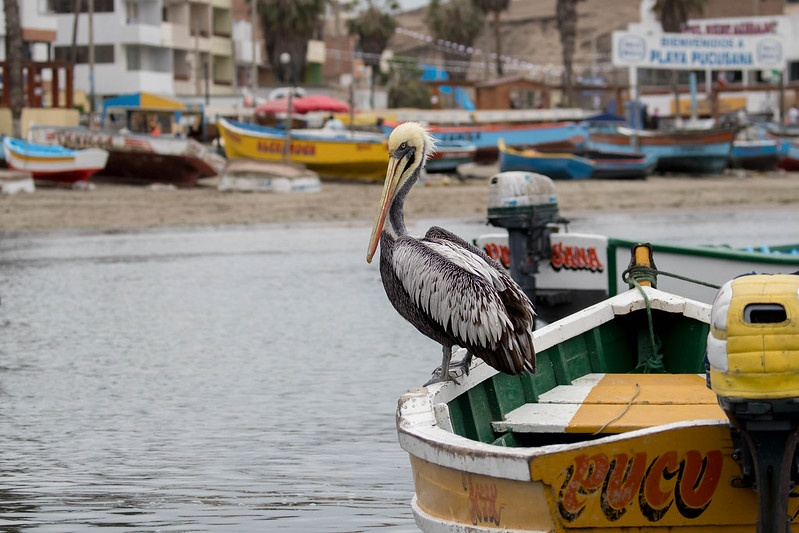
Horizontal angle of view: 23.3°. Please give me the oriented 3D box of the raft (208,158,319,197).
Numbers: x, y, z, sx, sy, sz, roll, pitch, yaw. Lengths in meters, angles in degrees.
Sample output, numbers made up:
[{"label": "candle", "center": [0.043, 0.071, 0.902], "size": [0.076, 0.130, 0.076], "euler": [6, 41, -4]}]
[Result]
[{"label": "raft", "center": [-2.941, -2.178, 48.380], "size": [2.741, 0.692, 2.163], "euler": [1, 4, 9]}]

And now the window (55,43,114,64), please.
[{"label": "window", "center": [-8.984, -5.985, 54.845], "size": [0.811, 0.668, 2.901], "euler": [1, 10, 13]}]

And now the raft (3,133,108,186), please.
[{"label": "raft", "center": [-8.360, -2.905, 46.009], "size": [3.099, 1.183, 1.067], "euler": [3, 10, -37]}]

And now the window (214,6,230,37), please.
[{"label": "window", "center": [-5.791, -7.927, 62.596], "size": [0.615, 1.009, 1.036], "euler": [6, 11, 15]}]

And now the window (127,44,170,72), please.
[{"label": "window", "center": [-7.426, -6.139, 57.039], "size": [0.413, 0.912, 1.932], "euler": [3, 11, 25]}]

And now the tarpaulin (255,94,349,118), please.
[{"label": "tarpaulin", "center": [-2.723, -4.292, 52.114], "size": [1.941, 0.549, 2.796], "euler": [-6, 11, -25]}]

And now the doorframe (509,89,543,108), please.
[{"label": "doorframe", "center": [4.913, -6.496, 75.337], "size": [1.819, 0.741, 2.250], "euler": [0, 1, 2]}]
